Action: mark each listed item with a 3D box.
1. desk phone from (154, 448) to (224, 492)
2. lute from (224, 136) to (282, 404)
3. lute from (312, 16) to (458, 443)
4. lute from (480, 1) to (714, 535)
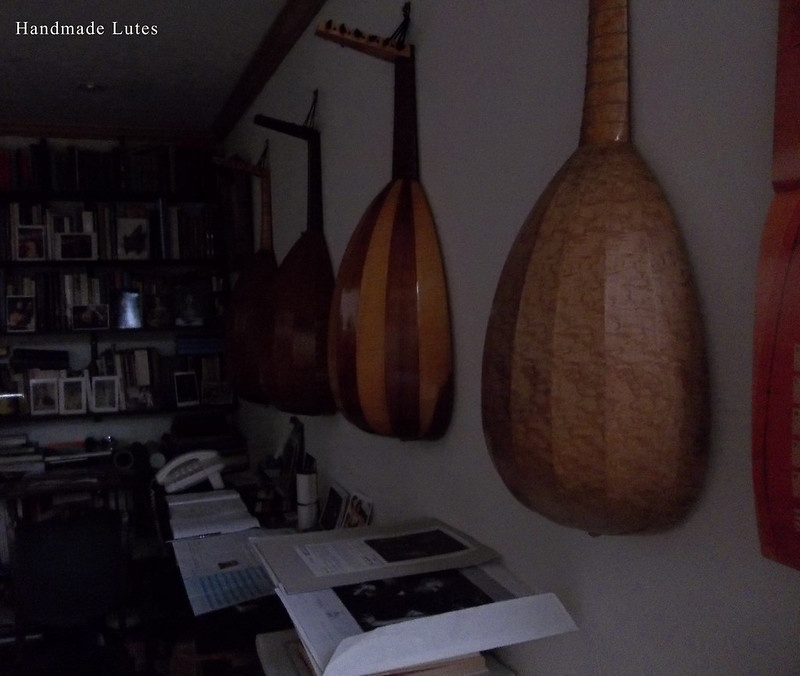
[{"bbox_3d":[-0.563,0.343,1.876,0.143,0.081,0.113,-24,0,-17],"label":"desk phone"},{"bbox_3d":[-0.405,-0.137,1.915,0.166,0.640,0.439,-6,5,-14],"label":"lute"},{"bbox_3d":[-0.030,-0.163,1.179,0.191,0.677,0.175,-5,5,-7],"label":"lute"},{"bbox_3d":[0.189,-0.076,0.726,0.228,0.555,0.117,-4,5,5],"label":"lute"}]
